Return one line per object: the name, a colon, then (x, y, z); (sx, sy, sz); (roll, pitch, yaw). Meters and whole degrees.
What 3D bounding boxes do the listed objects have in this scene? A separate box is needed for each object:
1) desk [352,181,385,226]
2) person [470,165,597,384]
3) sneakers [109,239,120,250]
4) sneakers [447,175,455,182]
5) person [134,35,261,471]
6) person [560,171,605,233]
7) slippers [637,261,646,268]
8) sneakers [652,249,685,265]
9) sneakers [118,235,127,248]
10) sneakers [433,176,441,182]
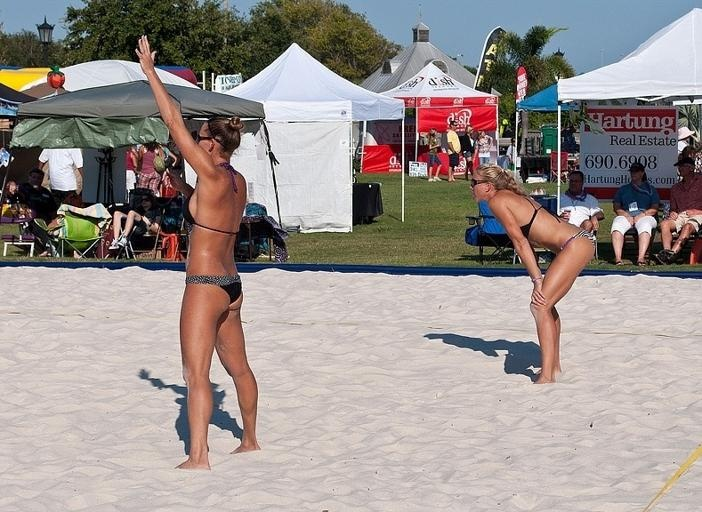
desk: (0.280, -0.940, 20.039); (0.716, 0.644, 0.690); (-1, 5, 0)
person: (1.596, 0.171, 9.902); (1.033, 1.921, 0.413); (1, 5, 11)
sneakers: (-3.148, -0.143, 14.956); (0.113, 0.147, 0.137); (-2, 6, -18)
sneakers: (2.648, -2.030, 29.394); (0.124, 0.222, 0.311); (-3, 2, -13)
person: (-1.100, 0.039, 8.437); (0.805, 3.167, 0.536); (0, 5, -5)
person: (2.934, -0.639, 14.763); (0.734, 0.895, 0.647); (3, 16, 24)
slippers: (3.715, 0.110, 14.364); (0.053, 0.049, 0.153); (-1, 1, 1)
sneakers: (4.123, 0.020, 14.472); (0.413, 0.182, 0.178); (4, -33, -27)
sneakers: (-3.043, -0.189, 14.957); (0.148, 0.166, 0.400); (2, -4, -12)
sneakers: (2.227, -2.019, 29.349); (0.088, 0.091, 0.218); (17, 10, 26)
